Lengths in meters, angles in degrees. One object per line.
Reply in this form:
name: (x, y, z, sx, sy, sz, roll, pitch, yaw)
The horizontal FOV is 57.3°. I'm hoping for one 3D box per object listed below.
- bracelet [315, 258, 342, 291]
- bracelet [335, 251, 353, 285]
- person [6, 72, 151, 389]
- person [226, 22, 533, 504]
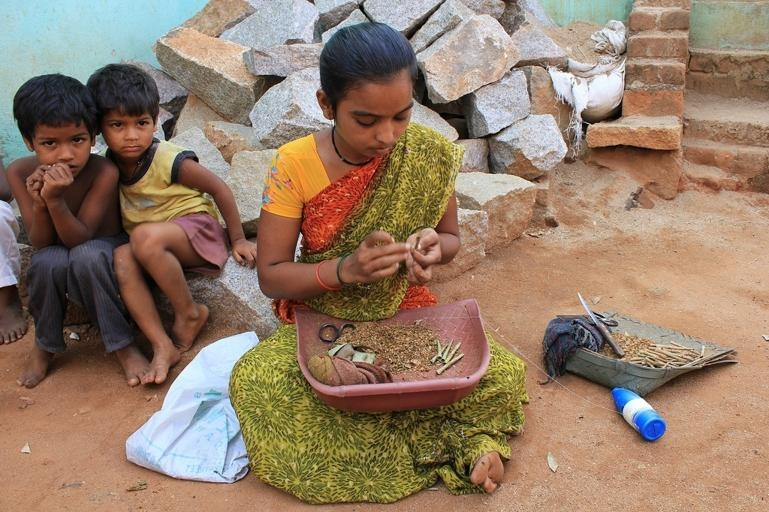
bracelet: (-0.303, 0.104, 3.940, 0.152, 0.168, 0.068, -13, -6, 33)
bracelet: (-0.222, 0.073, 3.924, 0.140, 0.155, 0.055, 5, -2, 8)
person: (-2.018, -0.150, 4.416, 0.793, 1.844, 0.737, -13, 23, -12)
person: (-0.128, 0.064, 3.837, 1.602, 2.458, 1.035, -12, 23, -10)
